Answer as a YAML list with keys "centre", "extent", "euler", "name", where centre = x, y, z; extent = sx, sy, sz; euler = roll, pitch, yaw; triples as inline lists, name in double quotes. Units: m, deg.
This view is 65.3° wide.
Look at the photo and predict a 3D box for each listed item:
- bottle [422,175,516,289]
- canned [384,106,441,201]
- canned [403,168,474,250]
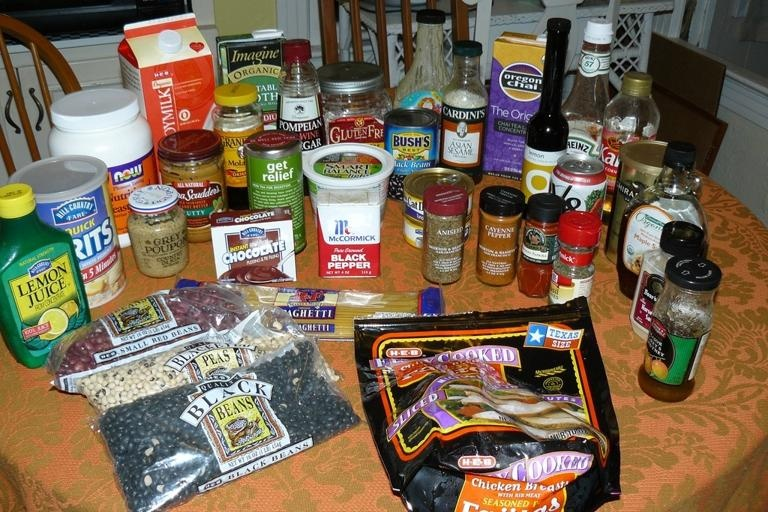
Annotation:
- centre: [0.142, -0.060, 1.264]
  extent: [0.271, 0.236, 0.131]
  euler: [1, 40, 0]
  name: "bottle"
- centre: [0.067, -0.236, 1.371]
  extent: [0.125, 0.194, 0.132]
  euler: [34, 53, 30]
  name: "canned"
- centre: [0.137, -0.116, 1.400]
  extent: [0.180, 0.180, 0.167]
  euler: [5, 39, 7]
  name: "canned"
